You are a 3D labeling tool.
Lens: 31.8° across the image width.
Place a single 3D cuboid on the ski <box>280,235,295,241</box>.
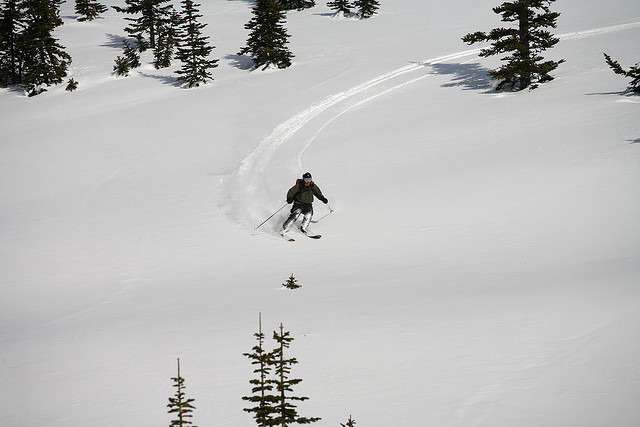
[{"bbox_3d":[-1.781,1.299,62.672,0.902,0.176,0.119,15,-23,33],"label":"ski"}]
